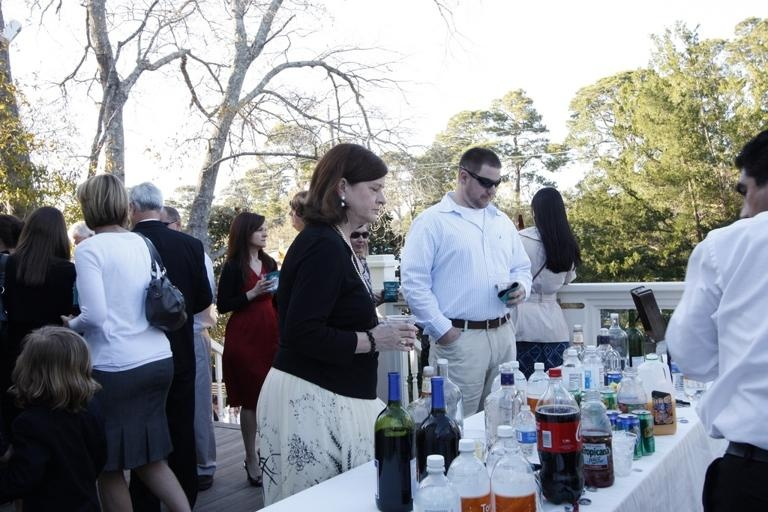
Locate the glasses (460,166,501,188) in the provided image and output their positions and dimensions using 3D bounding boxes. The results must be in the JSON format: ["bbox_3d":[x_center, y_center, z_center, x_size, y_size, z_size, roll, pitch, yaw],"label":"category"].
[{"bbox_3d":[0.682,-0.536,4.405,0.183,0.058,0.163,31,11,11],"label":"glasses"}]

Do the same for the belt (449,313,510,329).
[{"bbox_3d":[0.685,0.455,4.367,0.473,0.102,0.131,3,-7,-35],"label":"belt"}]

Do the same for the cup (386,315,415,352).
[{"bbox_3d":[0.091,0.388,3.095,0.166,0.176,0.124,0,-1,4],"label":"cup"}]

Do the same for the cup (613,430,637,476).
[{"bbox_3d":[1.132,0.925,2.987,0.157,0.171,0.159,-2,0,0],"label":"cup"}]

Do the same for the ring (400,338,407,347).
[{"bbox_3d":[0.094,0.425,3.096,0.032,0.039,0.033,2,-1,0],"label":"ring"}]

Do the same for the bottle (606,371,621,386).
[{"bbox_3d":[1.250,0.666,3.471,0.083,0.097,0.086,1,-6,1],"label":"bottle"}]
